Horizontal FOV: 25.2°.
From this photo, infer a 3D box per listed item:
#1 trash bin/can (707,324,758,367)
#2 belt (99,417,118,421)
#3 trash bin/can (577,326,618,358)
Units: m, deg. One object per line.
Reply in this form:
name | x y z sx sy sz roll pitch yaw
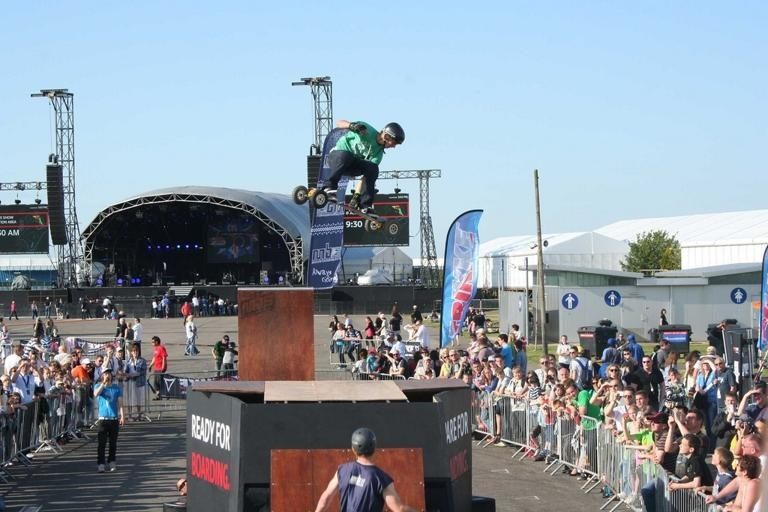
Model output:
trash bin/can | 15.594 3.825 76.357 0.838 2.159 1.934 -2 23 2
belt | -11.420 6.651 71.001 0.762 0.156 0.200 1 -2 -11
trash bin/can | 10.505 4.065 85.592 1.700 1.699 2.061 1 -2 -5
